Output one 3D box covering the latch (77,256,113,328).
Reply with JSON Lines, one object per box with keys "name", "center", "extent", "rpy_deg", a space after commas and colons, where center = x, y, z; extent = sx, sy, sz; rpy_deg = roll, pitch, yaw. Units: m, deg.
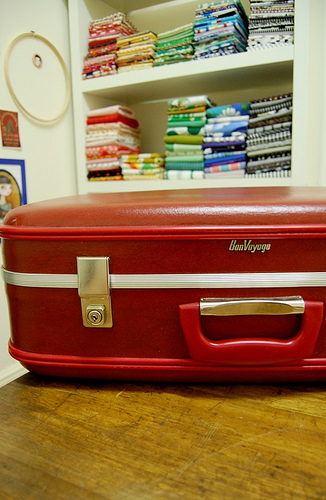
{"name": "latch", "center": [-0.086, 0.052, 0.528], "extent": [0.048, 0.092, 0.013], "rpy_deg": [4, -17, -37]}
